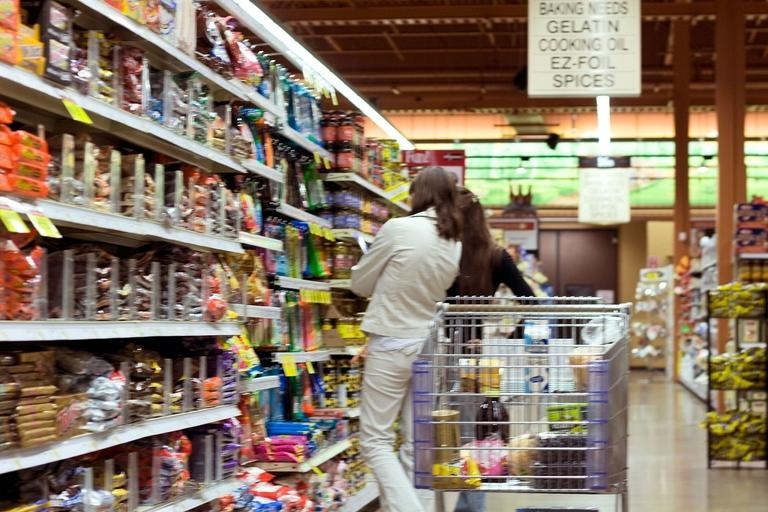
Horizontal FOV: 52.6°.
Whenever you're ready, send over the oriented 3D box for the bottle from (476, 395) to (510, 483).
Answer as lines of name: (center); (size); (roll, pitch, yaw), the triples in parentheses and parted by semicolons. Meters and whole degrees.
bottle: (0.471, 0.790, 3.366); (0.153, 0.358, 0.241); (-3, -10, 6)
